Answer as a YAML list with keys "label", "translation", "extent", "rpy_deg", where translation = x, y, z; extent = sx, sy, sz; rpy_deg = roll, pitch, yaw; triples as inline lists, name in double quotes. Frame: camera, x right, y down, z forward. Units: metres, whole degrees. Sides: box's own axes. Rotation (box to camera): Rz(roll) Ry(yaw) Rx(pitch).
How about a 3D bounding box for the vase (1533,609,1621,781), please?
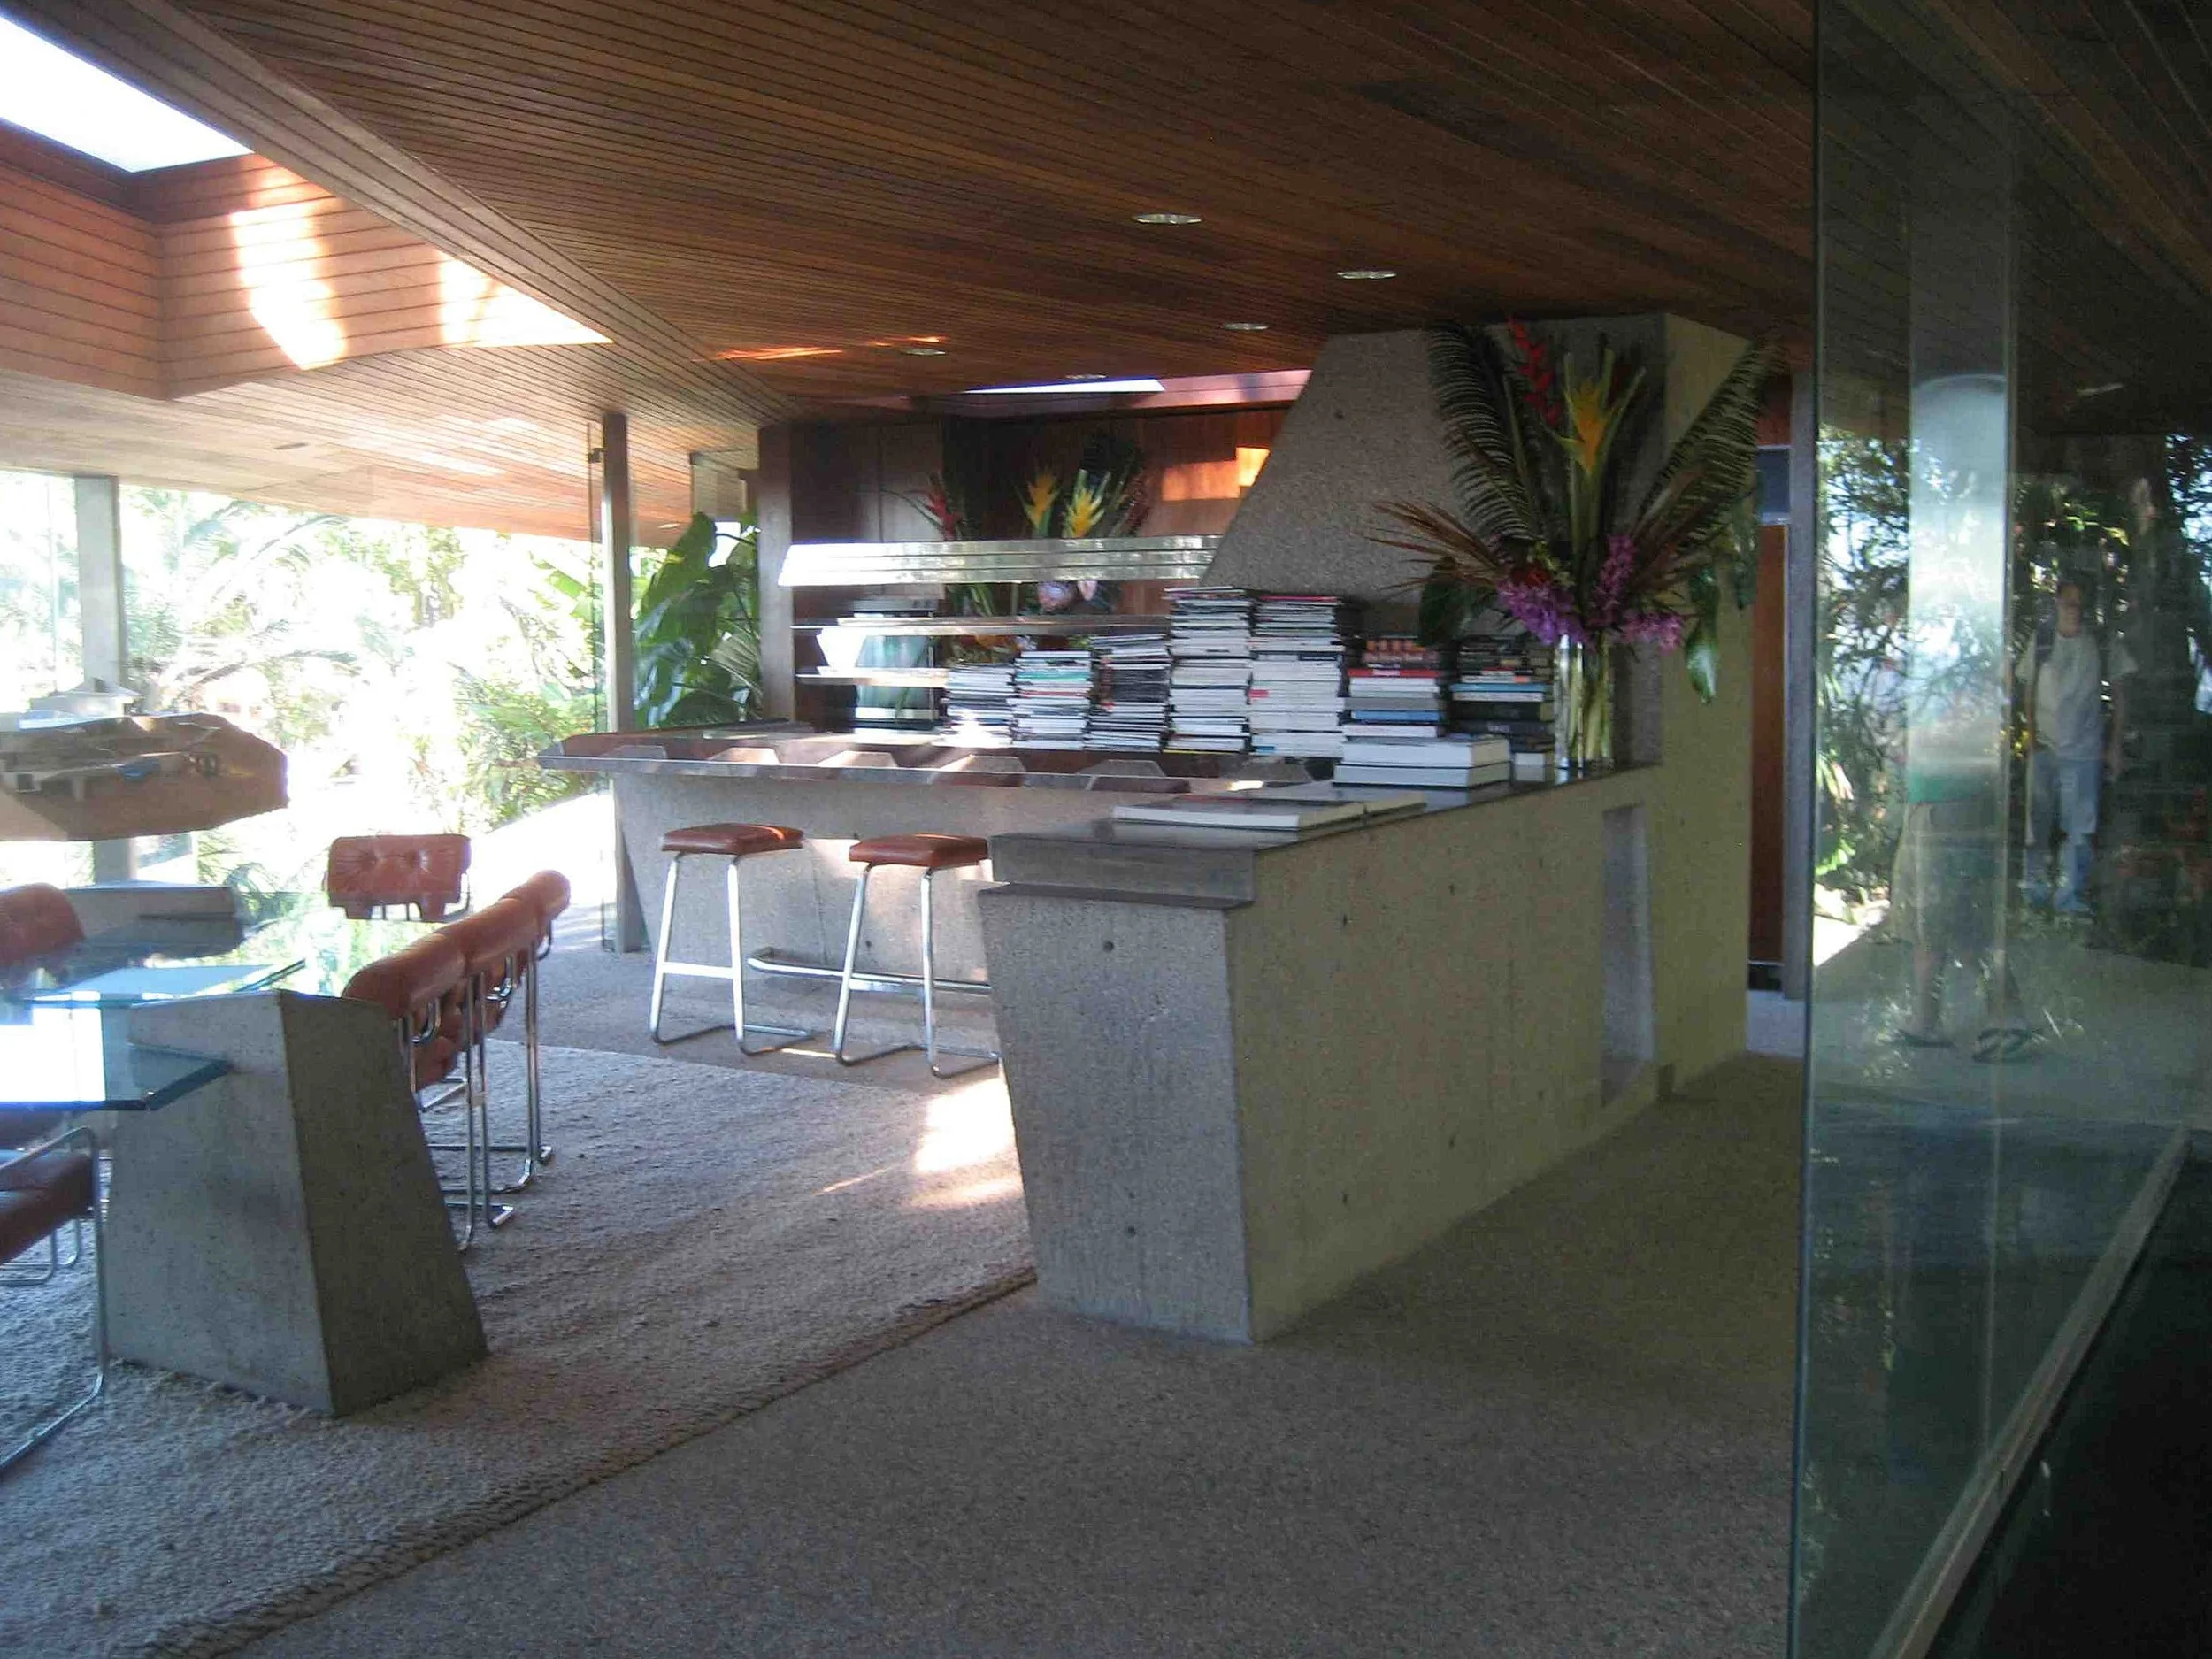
- label: "vase"
  translation: [1.589, -0.445, 5.275]
  extent: [0.181, 0.494, 0.469]
  rpy_deg: [3, 9, 25]

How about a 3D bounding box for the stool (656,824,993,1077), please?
- label: "stool"
  translation: [-1.179, 0.544, 6.874]
  extent: [1.065, 0.651, 0.432]
  rpy_deg: [3, 9, 26]

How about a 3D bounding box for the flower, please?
- label: "flower"
  translation: [1.701, -1.170, 5.499]
  extent: [1.270, 0.984, 1.276]
  rpy_deg: [-6, 5, -43]
